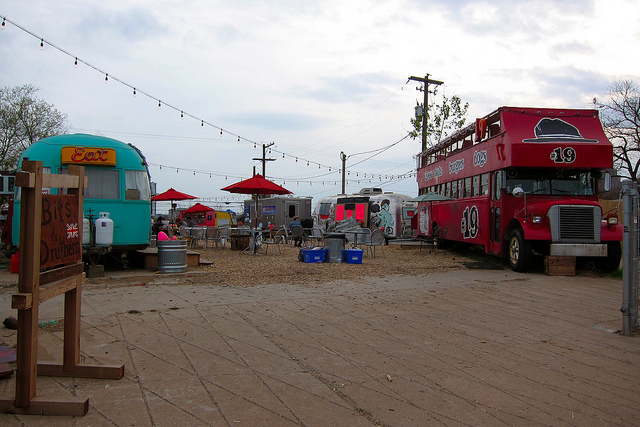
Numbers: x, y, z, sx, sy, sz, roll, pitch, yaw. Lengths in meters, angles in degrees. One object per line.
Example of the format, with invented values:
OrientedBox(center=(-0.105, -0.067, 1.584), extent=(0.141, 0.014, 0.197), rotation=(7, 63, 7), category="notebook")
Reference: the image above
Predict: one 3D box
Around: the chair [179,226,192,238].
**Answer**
OrientedBox(center=(-6.015, 0.804, 22.263), extent=(0.470, 0.600, 0.571), rotation=(-4, 14, -30), category="chair")

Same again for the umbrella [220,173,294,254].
OrientedBox(center=(-2.275, -0.070, 18.181), extent=(2.695, 2.737, 2.566), rotation=(2, 6, -17), category="umbrella")

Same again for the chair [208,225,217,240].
OrientedBox(center=(-4.420, 0.785, 20.191), extent=(0.453, 0.513, 0.437), rotation=(0, 1, -1), category="chair")

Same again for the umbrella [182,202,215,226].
OrientedBox(center=(-7.761, 0.082, 32.276), extent=(1.670, 1.364, 1.649), rotation=(-2, 4, 4), category="umbrella")

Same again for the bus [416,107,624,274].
OrientedBox(center=(6.359, -0.799, 18.283), extent=(3.517, 3.963, 11.163), rotation=(-1, 1, -4), category="bus")

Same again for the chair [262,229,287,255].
OrientedBox(center=(-1.742, 1.020, 19.006), extent=(1.000, 1.167, 0.819), rotation=(2, 0, 20), category="chair")

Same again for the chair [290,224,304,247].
OrientedBox(center=(-0.864, 0.624, 18.826), extent=(0.427, 0.432, 0.608), rotation=(0, -36, -4), category="chair")

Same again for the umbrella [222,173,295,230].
OrientedBox(center=(-2.254, -0.285, 17.949), extent=(2.540, 1.946, 2.563), rotation=(2, -2, -6), category="umbrella")

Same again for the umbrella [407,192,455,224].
OrientedBox(center=(4.424, 0.012, 19.879), extent=(1.638, 1.058, 1.715), rotation=(-4, 7, -15), category="umbrella")

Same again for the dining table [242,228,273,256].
OrientedBox(center=(-2.567, 1.044, 19.121), extent=(0.992, 0.889, 0.981), rotation=(0, 1, 33), category="dining table")

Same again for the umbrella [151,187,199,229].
OrientedBox(center=(-7.423, -0.131, 25.021), extent=(2.230, 1.987, 2.172), rotation=(-2, -4, -6), category="umbrella")

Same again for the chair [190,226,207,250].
OrientedBox(center=(-5.159, 0.996, 21.118), extent=(0.822, 1.158, 0.853), rotation=(1, 9, 3), category="chair")

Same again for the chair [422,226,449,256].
OrientedBox(center=(4.719, 1.003, 19.511), extent=(1.039, 1.324, 0.997), rotation=(2, -5, -20), category="chair")
